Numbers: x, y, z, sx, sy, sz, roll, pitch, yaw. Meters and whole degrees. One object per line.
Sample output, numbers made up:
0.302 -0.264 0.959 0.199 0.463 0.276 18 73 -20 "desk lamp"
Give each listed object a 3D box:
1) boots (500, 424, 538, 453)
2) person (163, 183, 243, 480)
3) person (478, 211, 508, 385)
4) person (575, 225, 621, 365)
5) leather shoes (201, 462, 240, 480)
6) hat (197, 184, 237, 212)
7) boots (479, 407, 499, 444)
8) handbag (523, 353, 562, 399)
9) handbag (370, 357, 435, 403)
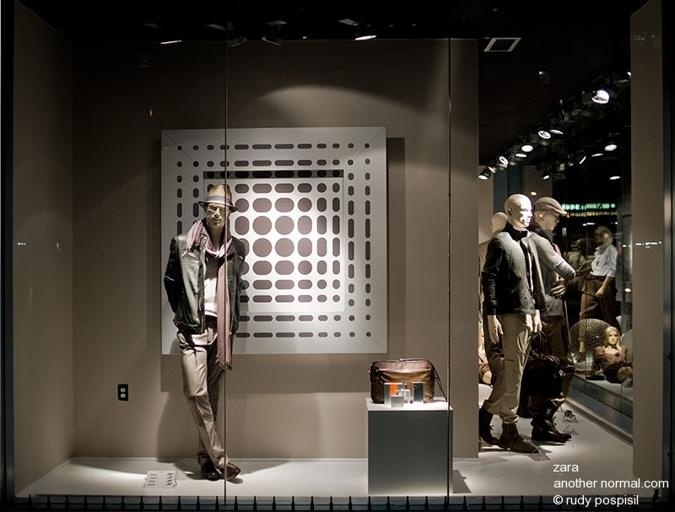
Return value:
0.987 1.023 3.378 0.243 0.189 0.104 0 1 1 "boots"
-0.738 0.424 3.314 0.441 1.614 0.225 0 -5 -10 "person"
0.859 0.233 3.297 0.140 0.946 0.103 0 -5 0 "person"
1.498 0.210 3.420 0.292 0.762 0.096 2 -6 -26 "person"
-0.670 1.213 3.411 0.247 0.117 0.096 -1 7 -1 "leather shoes"
-0.652 -0.330 3.294 0.144 0.094 0.168 7 -26 -6 "hat"
0.837 0.940 3.299 0.115 0.207 0.058 -1 -5 2 "boots"
1.112 0.667 3.347 0.181 0.279 0.269 4 -11 -6 "handbag"
0.365 0.709 3.354 0.369 0.264 0.152 -2 -16 7 "handbag"
